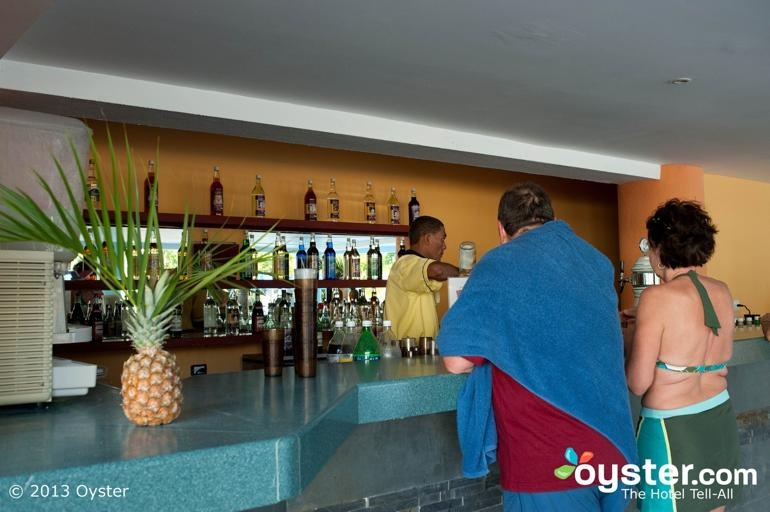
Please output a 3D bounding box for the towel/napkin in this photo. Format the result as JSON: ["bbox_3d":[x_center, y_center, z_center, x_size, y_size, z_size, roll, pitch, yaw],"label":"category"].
[{"bbox_3d":[0.536,0.390,2.055,0.641,1.037,0.333,-1,-4,22],"label":"towel/napkin"}]

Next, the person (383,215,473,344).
[{"bbox_3d":[0.223,0.156,3.271,0.409,0.734,0.381,3,-1,5],"label":"person"}]

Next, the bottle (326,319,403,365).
[{"bbox_3d":[-0.100,0.401,2.783,0.338,0.193,0.227,1,-4,0],"label":"bottle"}]

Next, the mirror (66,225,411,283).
[{"bbox_3d":[-0.812,-0.037,4.707,2.841,0.440,0.302,4,-1,-36],"label":"mirror"}]

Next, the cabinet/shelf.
[{"bbox_3d":[-0.797,0.065,4.514,2.391,0.767,0.383,4,0,-38],"label":"cabinet/shelf"}]

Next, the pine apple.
[{"bbox_3d":[-0.707,0.280,1.772,0.195,0.453,0.200,-3,4,-37],"label":"pine apple"}]
